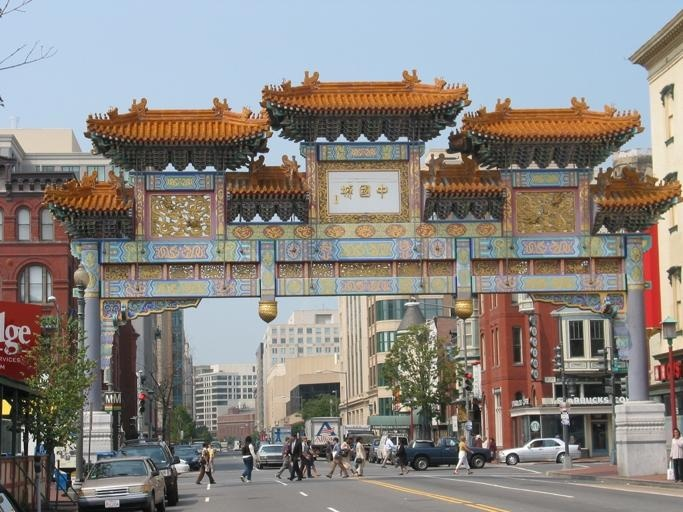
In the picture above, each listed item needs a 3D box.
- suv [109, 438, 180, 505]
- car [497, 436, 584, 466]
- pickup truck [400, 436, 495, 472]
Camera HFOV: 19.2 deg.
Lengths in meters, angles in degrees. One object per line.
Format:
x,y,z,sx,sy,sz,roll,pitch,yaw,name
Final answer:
-8.864,10.289,95.549,2.435,3.023,3.192,1,-11,-13,suv
11.816,11.512,120.183,4.283,1.360,1.891,2,-7,-1,car
6.165,11.372,116.211,5.033,1.945,2.251,-3,-1,3,pickup truck
